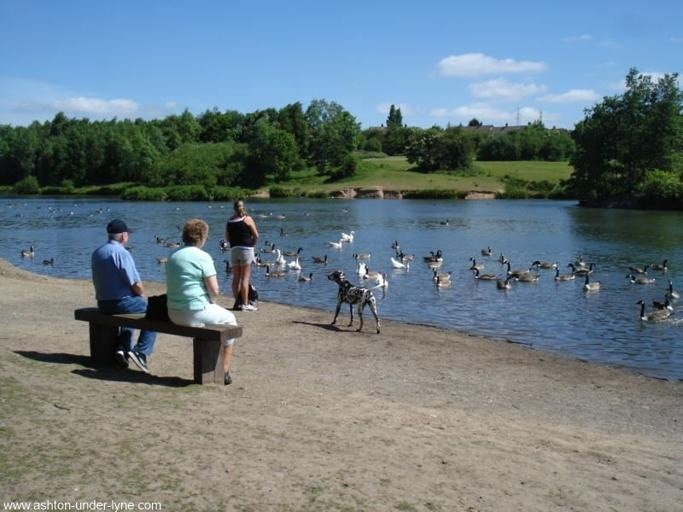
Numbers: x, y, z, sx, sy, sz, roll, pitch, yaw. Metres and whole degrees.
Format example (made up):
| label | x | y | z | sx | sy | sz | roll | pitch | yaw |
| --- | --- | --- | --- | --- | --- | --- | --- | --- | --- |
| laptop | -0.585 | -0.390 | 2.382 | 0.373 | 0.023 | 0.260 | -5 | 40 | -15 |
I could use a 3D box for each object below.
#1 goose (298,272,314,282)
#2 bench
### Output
| label | x | y | z | sx | sy | sz | roll | pitch | yaw |
| --- | --- | --- | --- | --- | --- | --- | --- | --- | --- |
| goose | -1.779 | 1.013 | 36.251 | 0.666 | 0.619 | 1.040 | 6 | 12 | -5 |
| bench | -4.416 | 2.087 | 17.178 | 4.397 | 1.296 | 0.899 | 4 | 7 | 29 |
